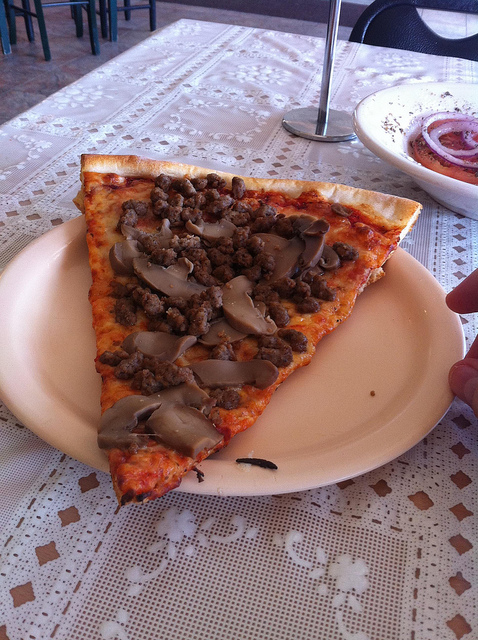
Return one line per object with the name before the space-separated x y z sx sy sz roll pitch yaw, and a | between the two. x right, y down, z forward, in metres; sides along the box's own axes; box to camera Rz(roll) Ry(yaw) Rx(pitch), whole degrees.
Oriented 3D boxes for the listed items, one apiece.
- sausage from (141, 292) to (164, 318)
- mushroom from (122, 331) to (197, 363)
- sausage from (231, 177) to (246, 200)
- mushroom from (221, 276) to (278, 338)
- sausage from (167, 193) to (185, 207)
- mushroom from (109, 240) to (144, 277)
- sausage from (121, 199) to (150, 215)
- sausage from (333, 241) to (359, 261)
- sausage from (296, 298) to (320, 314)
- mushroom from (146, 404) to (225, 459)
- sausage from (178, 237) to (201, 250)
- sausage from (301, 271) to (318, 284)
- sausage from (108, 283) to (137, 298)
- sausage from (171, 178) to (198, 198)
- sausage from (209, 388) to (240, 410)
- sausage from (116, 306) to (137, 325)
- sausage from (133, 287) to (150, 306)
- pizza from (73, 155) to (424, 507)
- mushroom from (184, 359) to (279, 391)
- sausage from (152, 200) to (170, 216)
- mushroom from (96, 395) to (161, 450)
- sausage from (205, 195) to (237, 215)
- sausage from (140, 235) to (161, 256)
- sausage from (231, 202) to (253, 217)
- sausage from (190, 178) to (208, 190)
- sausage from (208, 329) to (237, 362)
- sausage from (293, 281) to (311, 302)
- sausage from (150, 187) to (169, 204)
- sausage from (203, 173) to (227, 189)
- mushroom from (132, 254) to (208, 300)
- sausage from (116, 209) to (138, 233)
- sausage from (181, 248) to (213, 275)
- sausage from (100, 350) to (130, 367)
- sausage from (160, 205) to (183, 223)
sausage | -0.125 -0.021 0.872 0.029 0.013 0.034 -13 65 -10
mushroom | -0.105 0.039 0.819 0.078 0.022 0.046 8 31 2
sausage | -0.004 -0.248 1.130 0.030 0.011 0.039 -7 51 -7
mushroom | 0.017 -0.004 0.913 0.083 0.021 0.146 -5 42 -6
sausage | -0.113 -0.216 1.087 0.026 0.009 0.031 9 30 15
mushroom | -0.187 -0.104 0.981 0.058 0.024 0.063 -3 52 -5
sausage | -0.187 -0.205 1.090 0.043 0.016 0.025 -4 40 -12
sausage | 0.182 -0.116 1.024 0.030 0.011 0.038 -23 47 -30
sausage | 0.108 -0.022 0.942 0.029 0.008 0.025 11 43 14
mushroom | -0.065 0.129 0.714 0.081 0.029 0.060 25 43 30
sausage | -0.082 -0.124 0.985 0.033 0.011 0.018 -20 68 -21
sausage | 0.123 -0.069 1.014 0.024 0.006 0.020 -12 53 -4
sausage | -0.181 -0.046 0.933 0.033 0.009 0.029 -1 31 6
sausage | -0.104 -0.252 1.153 0.030 0.015 0.049 -44 46 -17
sausage | -0.018 0.101 0.775 0.030 0.010 0.026 0 32 -7
sausage | -0.167 -0.005 0.887 0.026 0.007 0.027 -2 51 -8
sausage | -0.148 -0.034 0.898 0.023 0.008 0.025 10 61 10
pizza | -0.036 -0.036 0.918 0.593 0.124 0.556 15 42 14
mushroom | -0.007 0.074 0.802 0.113 0.014 0.046 -1 33 -5
sausage | -0.142 -0.203 1.083 0.024 0.011 0.028 29 69 21
mushroom | -0.129 0.122 0.712 0.063 0.016 0.061 -26 42 -27
sausage | -0.035 -0.207 1.083 0.030 0.014 0.050 33 50 27
sausage | -0.143 -0.123 0.974 0.029 0.011 0.033 0 43 4
sausage | 0.003 -0.199 1.082 0.035 0.009 0.029 2 36 -4
sausage | -0.077 -0.258 1.140 0.022 0.011 0.026 -13 29 -13
sausage | -0.024 0.035 0.823 0.029 0.009 0.040 8 44 5
sausage | 0.098 -0.045 0.958 0.025 0.012 0.028 -2 61 5
sausage | -0.146 -0.230 1.105 0.034 0.009 0.028 1 55 -5
sausage | -0.046 -0.266 1.153 0.037 0.012 0.023 15 70 16
mushroom | -0.102 -0.076 0.959 0.085 0.045 0.138 -38 30 -2
sausage | -0.192 -0.176 1.058 0.034 0.017 0.046 -4 37 -10
sausage | -0.065 -0.098 0.964 0.047 0.012 0.041 4 42 -25
sausage | -0.168 0.053 0.811 0.035 0.009 0.019 -13 43 -1
sausage | -0.117 -0.186 1.053 0.037 0.010 0.031 20 63 19
